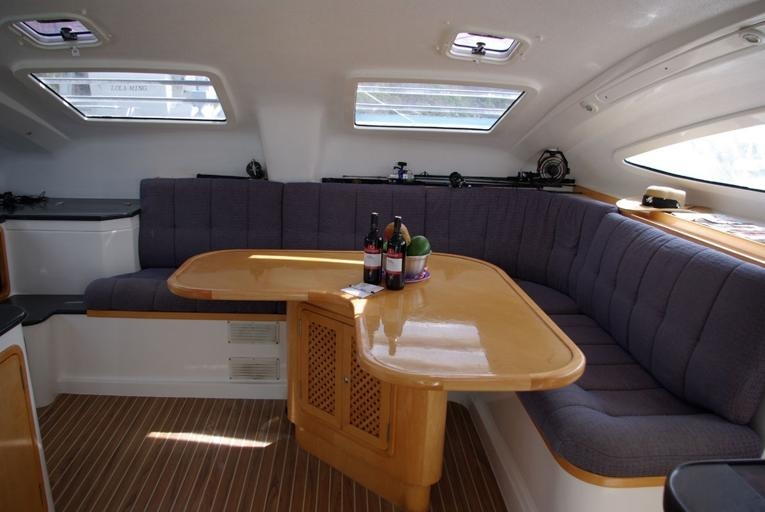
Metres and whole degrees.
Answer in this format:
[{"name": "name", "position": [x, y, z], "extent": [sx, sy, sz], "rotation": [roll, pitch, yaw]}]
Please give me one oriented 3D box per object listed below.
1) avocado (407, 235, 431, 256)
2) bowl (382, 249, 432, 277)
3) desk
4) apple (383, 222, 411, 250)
[{"name": "avocado", "position": [0.207, -0.058, 2.805], "extent": [0.107, 0.111, 0.115], "rotation": [5, 11, 26]}, {"name": "bowl", "position": [0.143, 0.047, 2.742], "extent": [0.185, 0.098, 0.187], "rotation": [0, 16, 0]}, {"name": "desk", "position": [0.041, 1.063, 3.012], "extent": [1.993, 1.065, 1.425], "rotation": [2, 16, 3]}, {"name": "apple", "position": [0.073, -0.115, 2.789], "extent": [0.138, 0.148, 0.188], "rotation": [-1, 12, 13]}]
